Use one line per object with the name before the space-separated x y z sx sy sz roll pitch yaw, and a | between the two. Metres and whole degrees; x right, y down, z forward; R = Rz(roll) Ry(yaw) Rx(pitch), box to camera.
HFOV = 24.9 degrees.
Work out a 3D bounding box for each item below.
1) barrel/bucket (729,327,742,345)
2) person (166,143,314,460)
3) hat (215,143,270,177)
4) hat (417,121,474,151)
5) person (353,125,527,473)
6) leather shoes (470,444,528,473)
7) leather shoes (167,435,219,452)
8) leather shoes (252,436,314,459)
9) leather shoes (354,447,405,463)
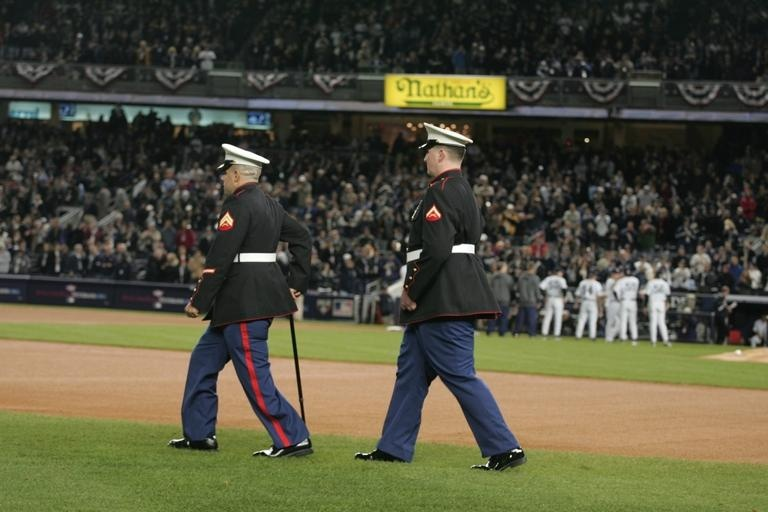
barrel/bucket | 4.182 0.956 20.754 0.135 0.238 0.203 6 -6 -40
person | -1.515 0.473 18.820 1.448 3.257 1.040 1 10 -7
hat | -1.595 -1.074 19.004 0.490 0.217 0.413 5 8 5
hat | 0.646 -1.286 18.894 0.425 0.201 0.347 5 7 5
person | 0.625 0.430 18.667 1.208 3.597 1.419 -6 13 -37
leather shoes | 1.252 2.195 18.684 0.642 0.276 0.221 -5 -4 9
leather shoes | -2.061 2.049 18.791 0.553 0.207 0.186 3 -6 14
leather shoes | -1.112 2.070 18.709 0.640 0.254 0.219 2 -4 -5
leather shoes | -0.077 2.174 18.813 0.551 0.211 0.185 6 -4 15
